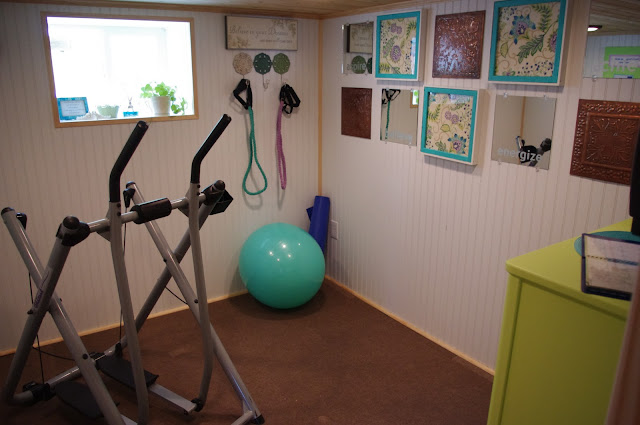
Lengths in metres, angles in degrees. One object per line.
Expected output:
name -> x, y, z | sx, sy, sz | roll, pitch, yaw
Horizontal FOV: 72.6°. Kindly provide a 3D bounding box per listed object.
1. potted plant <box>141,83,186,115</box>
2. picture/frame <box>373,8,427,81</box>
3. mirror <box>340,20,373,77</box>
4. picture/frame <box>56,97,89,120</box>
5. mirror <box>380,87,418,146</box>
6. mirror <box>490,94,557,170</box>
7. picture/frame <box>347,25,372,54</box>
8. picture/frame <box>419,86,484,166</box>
potted plant -> -1.419, -0.982, 3.856 | 0.261, 0.218, 0.309 | 2, 6, 31
picture/frame -> 0.665, -1.375, 3.545 | 0.079, 0.658, 0.533 | -7, 15, -35
mirror -> 0.340, -1.489, 3.934 | 0.061, 0.590, 0.464 | -8, 14, -44
picture/frame -> -2.041, -0.863, 3.623 | 0.214, 0.177, 0.105 | -9, 19, -28
mirror -> 0.680, -0.817, 3.678 | 0.022, 0.474, 0.415 | -15, 24, -38
mirror -> 1.394, -0.557, 2.958 | 0.026, 0.531, 0.436 | -17, 23, -37
picture/frame -> 0.361, -1.559, 3.903 | 0.026, 0.237, 0.253 | -24, 33, -38
picture/frame -> 1.011, -0.666, 3.297 | 0.079, 0.659, 0.518 | -6, 14, -38
